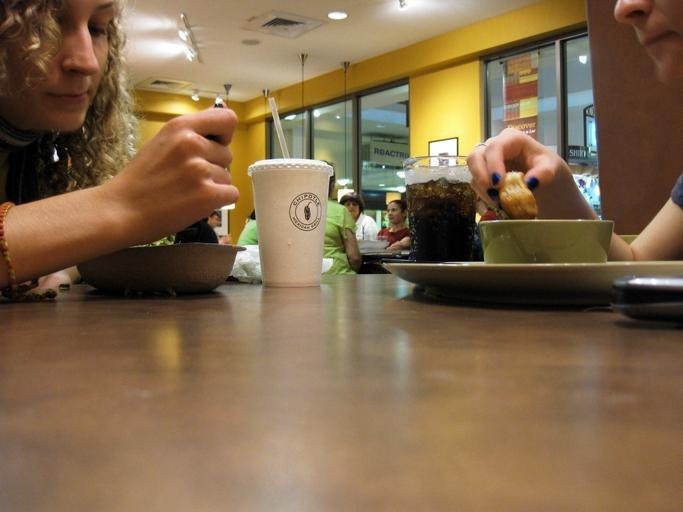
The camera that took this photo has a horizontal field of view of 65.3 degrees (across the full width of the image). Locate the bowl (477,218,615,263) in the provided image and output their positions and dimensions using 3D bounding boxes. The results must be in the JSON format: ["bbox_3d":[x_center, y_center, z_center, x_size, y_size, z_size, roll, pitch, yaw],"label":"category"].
[{"bbox_3d":[0.258,-0.013,0.686,0.166,0.056,0.175,2,-1,0],"label":"bowl"}]

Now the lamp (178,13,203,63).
[{"bbox_3d":[-1.704,-2.418,5.904,0.176,0.400,0.396,-9,-25,0],"label":"lamp"}]

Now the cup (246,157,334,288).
[{"bbox_3d":[-0.081,-0.053,0.847,0.130,0.196,0.116,-1,1,-1],"label":"cup"}]

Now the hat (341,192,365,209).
[{"bbox_3d":[0.118,-0.690,6.543,0.205,0.224,0.215,1,-6,2],"label":"hat"}]

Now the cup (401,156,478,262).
[{"bbox_3d":[0.187,-0.093,1.008,0.135,0.200,0.133,-1,1,0],"label":"cup"}]
